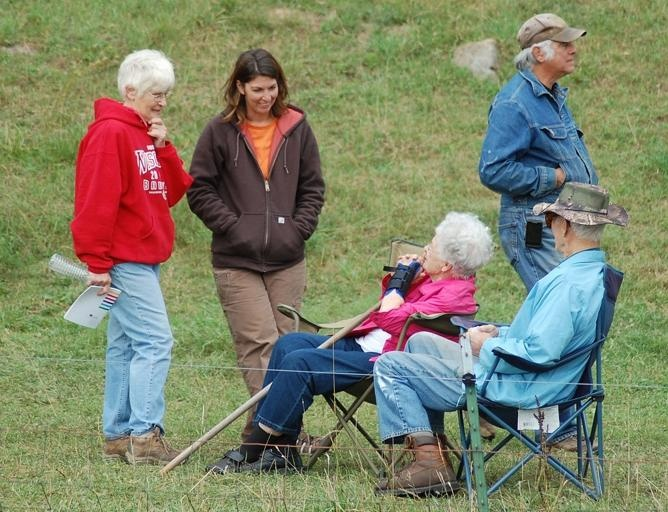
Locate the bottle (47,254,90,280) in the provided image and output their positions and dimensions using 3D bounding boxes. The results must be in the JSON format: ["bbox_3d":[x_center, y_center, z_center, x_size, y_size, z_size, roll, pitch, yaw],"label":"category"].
[{"bbox_3d":[-2.206,0.104,13.736,0.350,0.233,0.314,2,10,3],"label":"bottle"}]

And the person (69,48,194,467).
[{"bbox_3d":[-1.760,0.001,13.765,0.898,3.408,0.820,0,10,-6],"label":"person"}]

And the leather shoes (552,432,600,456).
[{"bbox_3d":[2.050,1.619,13.907,0.385,0.123,0.243,-1,2,7],"label":"leather shoes"}]

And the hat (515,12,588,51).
[{"bbox_3d":[1.892,-1.977,14.289,0.471,0.226,0.315,-2,16,10],"label":"hat"}]

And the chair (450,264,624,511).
[{"bbox_3d":[1.618,0.997,13.200,1.348,1.888,1.035,1,10,-2],"label":"chair"}]
